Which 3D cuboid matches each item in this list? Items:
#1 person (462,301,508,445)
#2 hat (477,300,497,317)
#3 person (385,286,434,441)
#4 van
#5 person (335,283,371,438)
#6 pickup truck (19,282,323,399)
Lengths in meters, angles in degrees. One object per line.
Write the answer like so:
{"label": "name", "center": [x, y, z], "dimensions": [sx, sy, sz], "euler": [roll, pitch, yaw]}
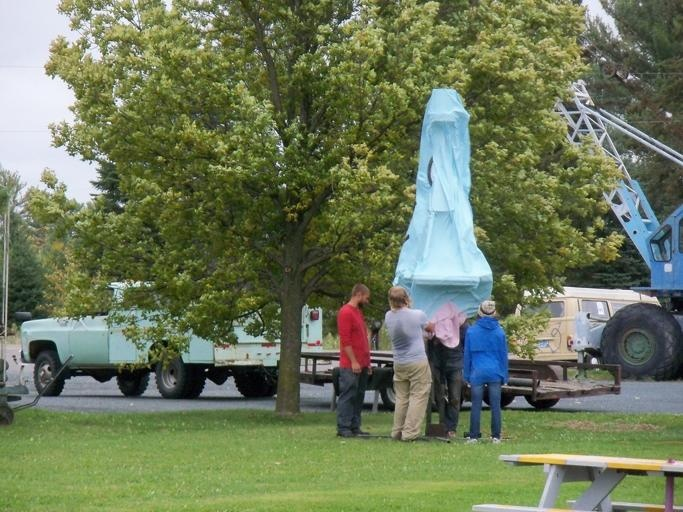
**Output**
{"label": "person", "center": [2.356, 1.881, 20.182], "dimensions": [0.711, 2.346, 0.600], "euler": [-1, -7, 6]}
{"label": "hat", "center": [2.386, 0.853, 20.158], "dimensions": [0.206, 0.256, 0.280], "euler": [5, 6, 3]}
{"label": "person", "center": [1.099, 1.773, 20.171], "dimensions": [0.701, 2.497, 0.704], "euler": [-1, -7, 4]}
{"label": "van", "center": [7.272, 2.353, 35.412], "dimensions": [4.849, 2.448, 2.466], "euler": [-2, -1, -39]}
{"label": "person", "center": [0.203, 1.760, 20.826], "dimensions": [0.546, 2.581, 0.873], "euler": [0, -7, -2]}
{"label": "pickup truck", "center": [-4.559, 2.108, 29.924], "dimensions": [7.249, 2.740, 2.754], "euler": [-3, -8, 18]}
